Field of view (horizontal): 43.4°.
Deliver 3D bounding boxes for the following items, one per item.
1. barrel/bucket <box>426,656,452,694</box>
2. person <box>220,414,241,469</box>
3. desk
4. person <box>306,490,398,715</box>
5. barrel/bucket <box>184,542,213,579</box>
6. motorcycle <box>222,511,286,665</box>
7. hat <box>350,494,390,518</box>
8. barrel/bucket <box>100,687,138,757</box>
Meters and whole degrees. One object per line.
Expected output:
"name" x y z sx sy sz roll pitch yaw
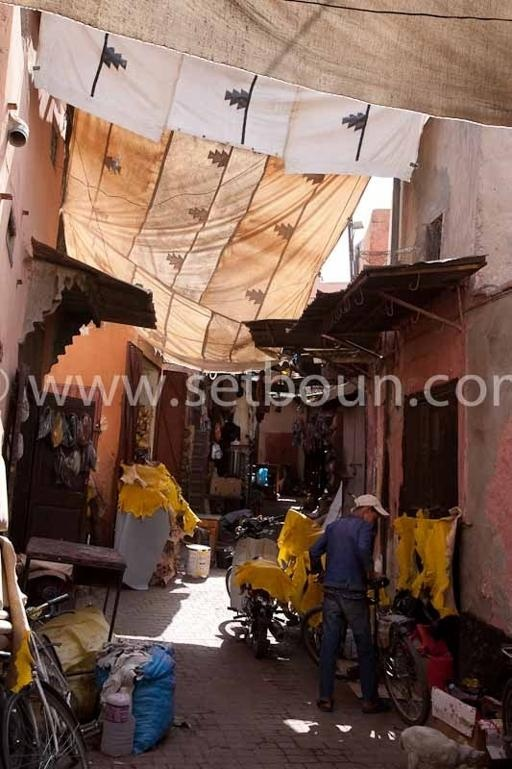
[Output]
"barrel/bucket" 1.500 2.351 5.242 0.257 0.211 0.136 6 -9 -4
"person" -0.996 2.131 22.815 0.615 2.173 0.876 1 -9 19
"desk" -1.484 1.685 5.250 0.744 0.697 0.677 12 0 -11
"person" 0.834 1.947 5.870 0.669 1.849 0.656 4 -9 6
"barrel/bucket" -1.083 3.382 12.249 0.529 0.610 0.561 1 -7 0
"motorcycle" 0.067 2.490 8.187 0.685 1.338 2.109 1 0 -7
"hat" 1.094 1.151 6.168 0.341 0.199 0.238 14 -5 3
"barrel/bucket" -0.901 2.222 4.195 0.226 0.382 0.153 6 -9 -10
